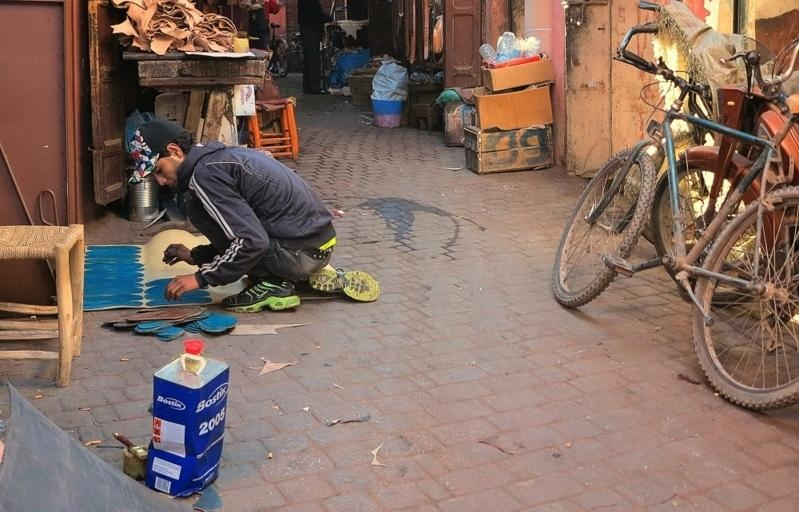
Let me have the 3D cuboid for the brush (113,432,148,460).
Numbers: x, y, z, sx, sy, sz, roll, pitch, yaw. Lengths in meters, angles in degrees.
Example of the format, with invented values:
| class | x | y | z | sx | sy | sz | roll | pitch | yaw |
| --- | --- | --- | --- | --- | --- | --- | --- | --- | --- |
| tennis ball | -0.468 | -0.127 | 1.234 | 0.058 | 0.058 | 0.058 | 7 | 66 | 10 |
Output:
| class | x | y | z | sx | sy | sz | roll | pitch | yaw |
| --- | --- | --- | --- | --- | --- | --- | --- | --- | --- |
| brush | -1.593 | 1.106 | 3.641 | 0.108 | 0.038 | 0.355 | 9 | 10 | -41 |

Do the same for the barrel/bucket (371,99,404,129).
| class | x | y | z | sx | sy | sz | roll | pitch | yaw |
| --- | --- | --- | --- | --- | --- | --- | --- | --- | --- |
| barrel/bucket | -0.281 | -3.238 | 14.047 | 0.735 | 0.470 | 0.681 | 0 | 15 | 0 |

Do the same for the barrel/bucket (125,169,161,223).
| class | x | y | z | sx | sy | sz | roll | pitch | yaw |
| --- | --- | --- | --- | --- | --- | --- | --- | --- | --- |
| barrel/bucket | -3.227 | -0.750 | 7.821 | 0.479 | 0.580 | 0.446 | 1 | 3 | 0 |

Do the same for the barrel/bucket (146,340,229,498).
| class | x | y | z | sx | sy | sz | roll | pitch | yaw |
| --- | --- | --- | --- | --- | --- | --- | --- | --- | --- |
| barrel/bucket | -1.185 | 0.896 | 3.415 | 0.516 | 0.852 | 0.284 | -8 | 22 | -17 |

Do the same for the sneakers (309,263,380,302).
| class | x | y | z | sx | sy | sz | roll | pitch | yaw |
| --- | --- | --- | --- | --- | --- | --- | --- | --- | --- |
| sneakers | -0.494 | 0.254 | 5.705 | 0.683 | 0.261 | 0.292 | 14 | -7 | -6 |

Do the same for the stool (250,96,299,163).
| class | x | y | z | sx | sy | sz | roll | pitch | yaw |
| --- | --- | --- | --- | --- | --- | --- | --- | --- | --- |
| stool | -2.042 | -2.225 | 11.118 | 0.910 | 1.118 | 0.889 | 5 | 14 | 30 |

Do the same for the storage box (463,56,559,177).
| class | x | y | z | sx | sy | sz | roll | pitch | yaw |
| --- | --- | --- | --- | --- | --- | --- | --- | --- | --- |
| storage box | 1.758 | -2.187 | 9.614 | 1.347 | 1.698 | 0.514 | -6 | 22 | -14 |

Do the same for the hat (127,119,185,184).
| class | x | y | z | sx | sy | sz | roll | pitch | yaw |
| --- | --- | --- | --- | --- | --- | --- | --- | --- | --- |
| hat | -2.108 | -0.923 | 5.290 | 0.721 | 0.506 | 0.323 | 16 | 27 | 38 |

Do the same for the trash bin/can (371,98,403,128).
| class | x | y | z | sx | sy | sz | roll | pitch | yaw |
| --- | --- | --- | --- | --- | --- | --- | --- | --- | --- |
| trash bin/can | -0.260 | -3.291 | 14.176 | 0.758 | 0.476 | 0.682 | 2 | 13 | 5 |
